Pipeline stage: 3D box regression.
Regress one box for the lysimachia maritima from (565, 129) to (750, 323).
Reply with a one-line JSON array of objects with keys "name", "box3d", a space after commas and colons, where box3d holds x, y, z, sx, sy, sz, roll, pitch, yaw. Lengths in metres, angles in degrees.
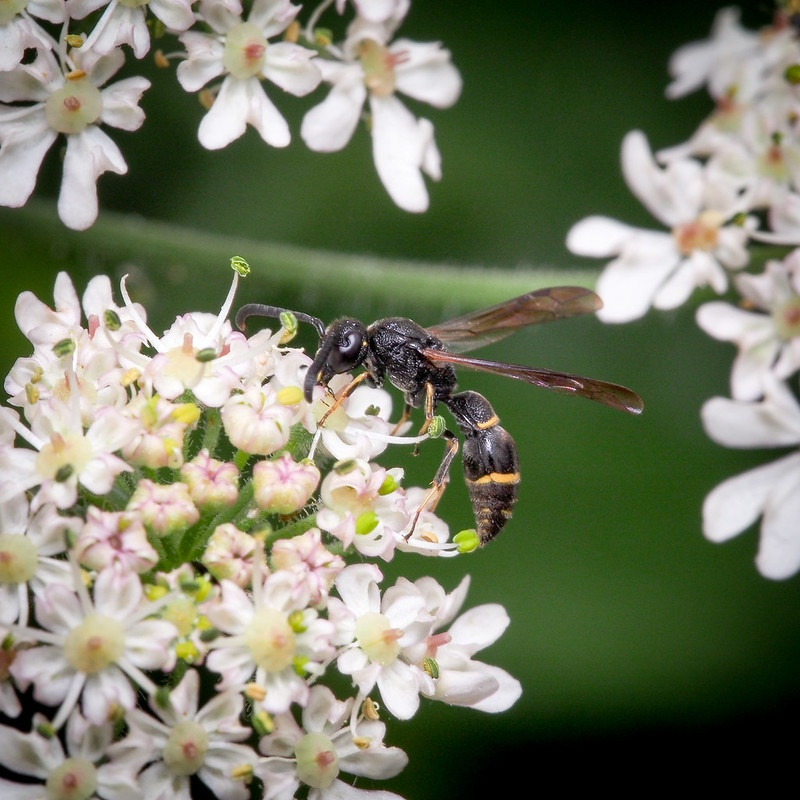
[{"name": "lysimachia maritima", "box3d": [0.463, -0.289, 1.863, 0.299, 0.184, 0.275, 9, -45, -12]}]
